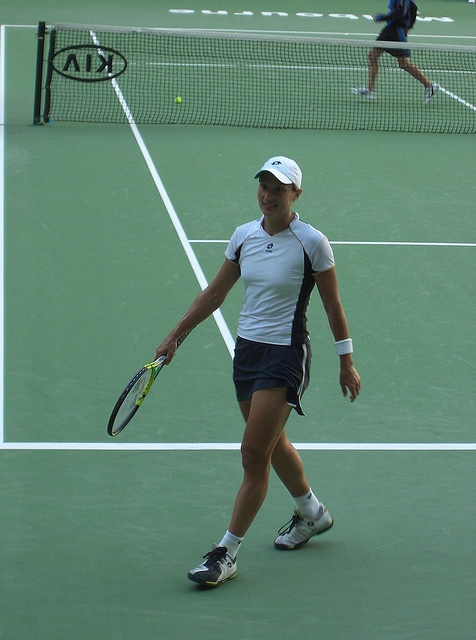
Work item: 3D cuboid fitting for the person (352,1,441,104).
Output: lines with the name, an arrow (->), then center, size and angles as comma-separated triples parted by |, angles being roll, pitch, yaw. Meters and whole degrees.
person -> 2.789, -4.765, 11.192 | 1.377, 1.729, 0.959 | 7, 13, 5

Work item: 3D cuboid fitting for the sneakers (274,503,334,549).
sneakers -> 0.318, 1.004, 3.084 | 0.302, 0.180, 0.099 | -29, 16, -3

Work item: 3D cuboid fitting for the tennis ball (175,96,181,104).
tennis ball -> -1.015, -3.692, 10.773 | 0.139, 0.151, 0.055 | 2, -10, 2

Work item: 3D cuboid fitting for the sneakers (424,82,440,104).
sneakers -> 3.449, -4.050, 11.497 | 0.250, 0.203, 0.637 | -20, 31, 21

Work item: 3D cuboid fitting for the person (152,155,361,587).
person -> 0.121, 0.188, 2.914 | 0.812, 1.824, 0.776 | 0, 14, -24

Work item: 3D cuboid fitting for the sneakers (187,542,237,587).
sneakers -> -0.092, 1.044, 2.768 | 0.113, 0.125, 0.277 | 18, 5, 30

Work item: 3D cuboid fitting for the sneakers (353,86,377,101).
sneakers -> 2.242, -4.077, 11.544 | 0.229, 0.147, 0.491 | 2, 6, 16

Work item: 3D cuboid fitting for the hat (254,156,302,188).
hat -> 0.192, -0.643, 2.850 | 0.142, 0.091, 0.194 | 18, -9, 24
